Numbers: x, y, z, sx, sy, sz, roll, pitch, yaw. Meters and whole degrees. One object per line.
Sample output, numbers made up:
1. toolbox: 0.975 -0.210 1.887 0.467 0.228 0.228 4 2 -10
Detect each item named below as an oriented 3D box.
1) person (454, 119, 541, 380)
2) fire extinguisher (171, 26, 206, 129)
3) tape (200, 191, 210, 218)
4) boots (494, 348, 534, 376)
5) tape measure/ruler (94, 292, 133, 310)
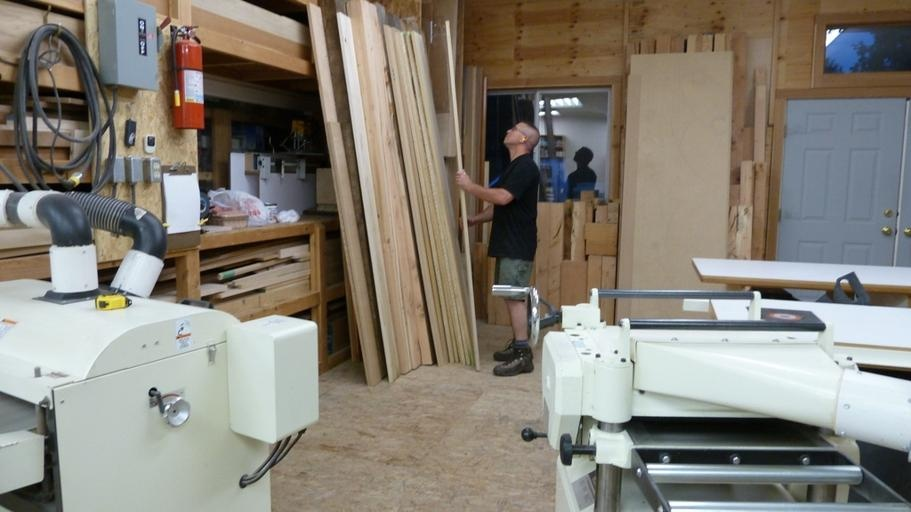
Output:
1. person: 0.380 -0.084 6.339 0.959 2.330 0.992 0 3 8
2. fire extinguisher: -1.825 -1.217 4.476 0.141 0.688 0.222 7 11 43
3. tape: -2.027 -0.408 5.298 0.061 0.180 0.285 -2 7 -17
4. boots: 0.561 0.962 5.946 0.489 0.270 0.235 1 -2 -5
5. tape measure/ruler: -1.825 0.244 3.491 0.163 0.075 0.121 -1 7 -9
